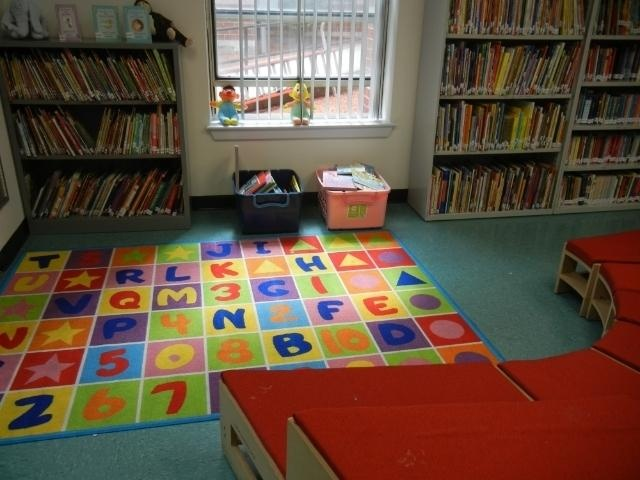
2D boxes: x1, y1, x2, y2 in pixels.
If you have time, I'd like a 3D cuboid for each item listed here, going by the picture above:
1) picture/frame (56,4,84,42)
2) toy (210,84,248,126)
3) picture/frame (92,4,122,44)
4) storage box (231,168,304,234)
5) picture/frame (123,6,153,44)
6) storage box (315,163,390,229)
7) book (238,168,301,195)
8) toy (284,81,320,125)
[{"bbox_3d":[-1.786,-1.518,3.113,0.142,0.235,0.152,-9,25,-16],"label":"picture/frame"},{"bbox_3d":[-0.792,-1.135,3.759,0.265,0.304,0.161,-6,24,-10],"label":"toy"},{"bbox_3d":[-1.528,-1.533,3.149,0.171,0.234,0.170,-11,26,-21],"label":"picture/frame"},{"bbox_3d":[-0.437,-0.265,3.728,0.553,0.368,0.582,-2,35,-5],"label":"storage box"},{"bbox_3d":[-1.302,-1.525,3.149,0.178,0.230,0.092,-13,26,-24],"label":"picture/frame"},{"bbox_3d":[0.282,-0.365,3.855,0.562,0.441,0.491,-4,25,-7],"label":"storage box"},{"bbox_3d":[-0.416,-0.460,3.671,0.397,0.175,0.280,-4,32,-6],"label":"book"},{"bbox_3d":[-0.191,-1.186,3.859,0.246,0.343,0.183,-2,24,-2],"label":"toy"}]
